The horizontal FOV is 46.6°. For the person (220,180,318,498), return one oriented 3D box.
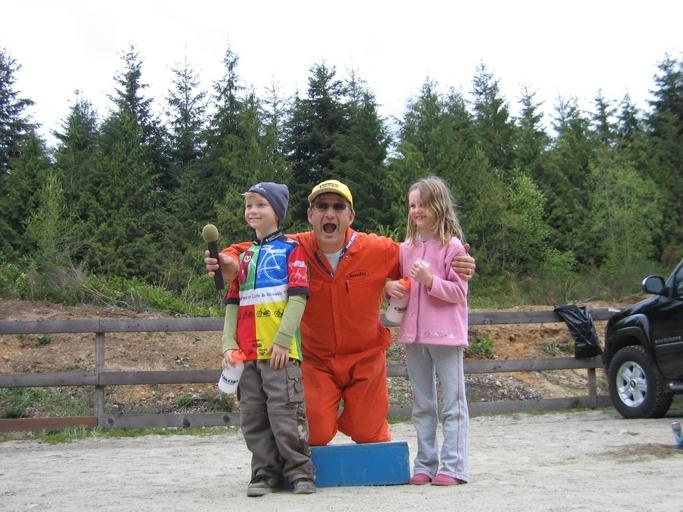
[{"bbox_3d":[-0.756,0.797,8.063,0.885,3.188,0.448,-2,-6,-5],"label":"person"}]

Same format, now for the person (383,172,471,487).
[{"bbox_3d":[0.972,0.737,8.179,0.752,3.209,0.490,-4,-6,10],"label":"person"}]

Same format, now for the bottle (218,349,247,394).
[{"bbox_3d":[-1.118,1.173,8.034,0.246,0.425,0.263,-3,-6,0],"label":"bottle"}]

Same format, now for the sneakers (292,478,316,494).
[{"bbox_3d":[-0.369,2.288,7.844,0.221,0.141,0.132,-2,-7,-6],"label":"sneakers"}]

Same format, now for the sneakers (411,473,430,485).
[{"bbox_3d":[0.819,2.291,8.124,0.081,0.094,0.211,-3,-3,-41],"label":"sneakers"}]

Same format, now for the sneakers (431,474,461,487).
[{"bbox_3d":[1.081,2.277,8.013,0.238,0.115,0.111,-2,4,3],"label":"sneakers"}]

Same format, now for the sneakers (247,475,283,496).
[{"bbox_3d":[-0.754,2.304,7.891,0.327,0.158,0.152,6,-15,-29],"label":"sneakers"}]
